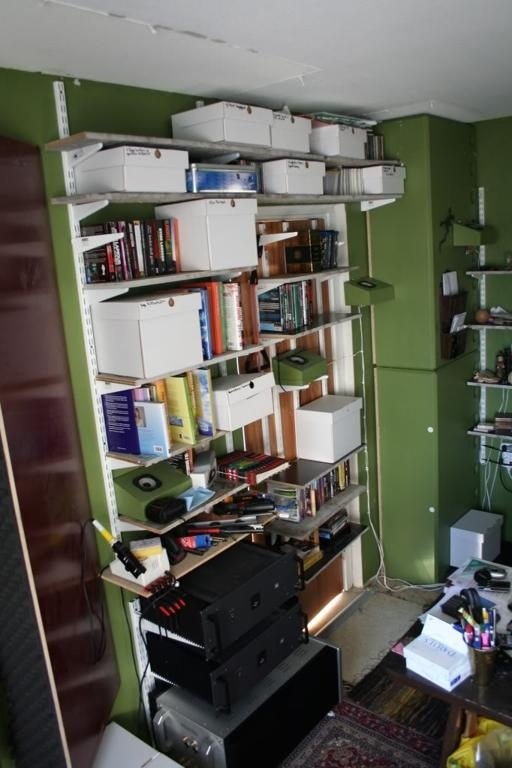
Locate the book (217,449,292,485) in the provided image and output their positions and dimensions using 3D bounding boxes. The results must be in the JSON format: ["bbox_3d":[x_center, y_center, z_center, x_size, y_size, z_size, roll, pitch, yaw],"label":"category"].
[{"bbox_3d":[-0.019,0.378,2.694,0.198,0.045,0.204,8,14,35],"label":"book"}]

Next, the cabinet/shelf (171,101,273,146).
[{"bbox_3d":[-0.114,-0.940,2.164,0.371,0.152,0.201,-9,11,-5],"label":"cabinet/shelf"}]

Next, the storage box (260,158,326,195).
[{"bbox_3d":[0.168,-0.872,2.522,0.294,0.147,0.117,-17,13,-37],"label":"storage box"}]

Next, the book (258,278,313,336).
[{"bbox_3d":[0.122,-0.359,2.776,0.092,0.230,0.273,6,12,33],"label":"book"}]

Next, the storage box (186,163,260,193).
[{"bbox_3d":[-0.118,-0.736,2.148,0.037,0.100,0.355,1,14,41],"label":"storage box"}]

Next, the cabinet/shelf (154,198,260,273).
[{"bbox_3d":[-0.154,-0.559,2.240,0.216,0.232,0.288,7,18,37],"label":"cabinet/shelf"}]

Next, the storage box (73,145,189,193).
[{"bbox_3d":[-0.378,-0.659,1.860,0.367,0.140,0.211,-11,11,-15],"label":"storage box"}]

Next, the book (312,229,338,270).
[{"bbox_3d":[0.334,-0.666,2.956,0.110,0.193,0.207,5,14,25],"label":"book"}]

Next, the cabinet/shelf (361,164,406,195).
[{"bbox_3d":[0.672,-1.069,3.121,0.213,0.134,0.220,10,18,39],"label":"cabinet/shelf"}]

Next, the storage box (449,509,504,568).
[{"bbox_3d":[1.436,1.041,3.912,0.225,0.344,0.432,0,14,40],"label":"storage box"}]

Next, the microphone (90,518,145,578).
[{"bbox_3d":[-0.490,0.568,2.112,0.124,0.214,0.205,-14,12,-27],"label":"microphone"}]

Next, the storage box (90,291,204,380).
[{"bbox_3d":[-0.363,-0.181,2.059,0.275,0.247,0.340,2,14,27],"label":"storage box"}]

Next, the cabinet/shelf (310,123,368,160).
[{"bbox_3d":[0.408,-1.129,2.792,0.119,0.146,0.371,1,14,41],"label":"cabinet/shelf"}]
